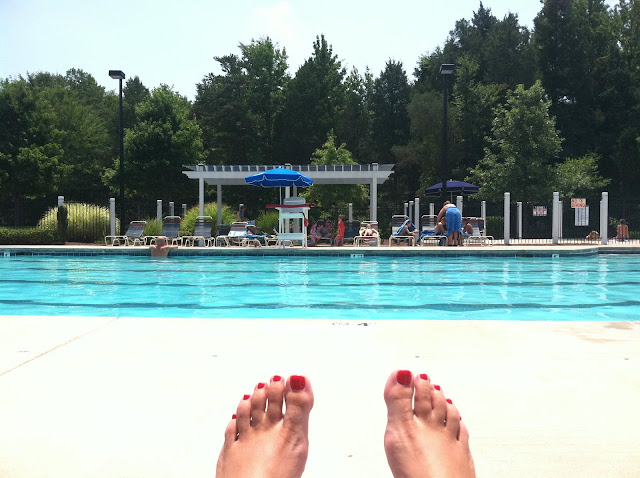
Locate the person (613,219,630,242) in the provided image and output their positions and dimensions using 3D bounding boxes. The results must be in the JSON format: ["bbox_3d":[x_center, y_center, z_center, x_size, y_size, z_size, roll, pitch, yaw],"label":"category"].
[{"bbox_3d":[10.777,-0.284,26.942,0.705,1.237,0.746,0,6,23],"label":"person"}]

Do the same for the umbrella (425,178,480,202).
[{"bbox_3d":[5.036,-1.865,28.203,1.453,1.058,1.562,0,3,4],"label":"umbrella"}]

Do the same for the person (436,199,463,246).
[{"bbox_3d":[3.779,-0.455,22.006,0.677,1.313,0.942,1,-1,9],"label":"person"}]

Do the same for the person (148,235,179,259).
[{"bbox_3d":[-4.340,0.222,20.687,0.705,0.549,0.693,1,-1,1],"label":"person"}]

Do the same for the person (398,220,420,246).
[{"bbox_3d":[2.765,-0.162,23.333,0.719,1.208,0.696,-2,-2,-3],"label":"person"}]

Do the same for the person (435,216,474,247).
[{"bbox_3d":[4.237,-0.192,22.935,0.757,0.498,1.039,1,10,7],"label":"person"}]
